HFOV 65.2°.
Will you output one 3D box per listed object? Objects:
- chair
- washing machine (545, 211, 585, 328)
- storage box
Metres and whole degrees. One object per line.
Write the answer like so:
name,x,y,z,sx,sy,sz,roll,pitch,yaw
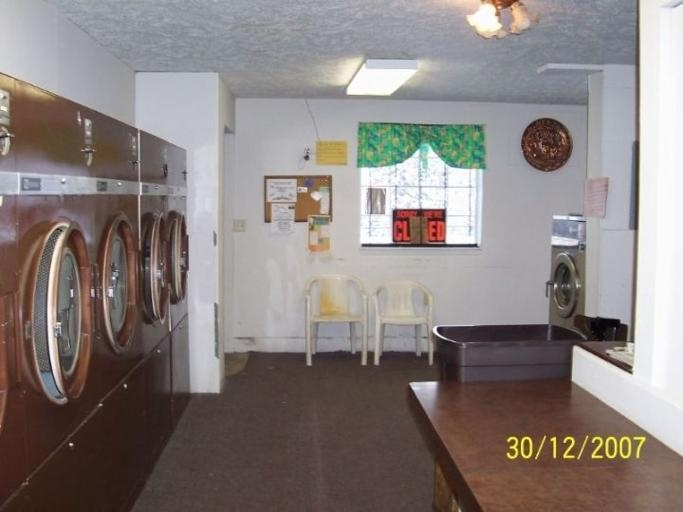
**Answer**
chair,0.303,0.650,5.534,1.346,0.887,0.602,-1,4,-4
washing machine,1.816,0.137,4.343,0.192,0.946,0.629,0,4,4
storage box,0.785,0.470,2.563,0.461,0.176,0.359,-1,-3,-5
